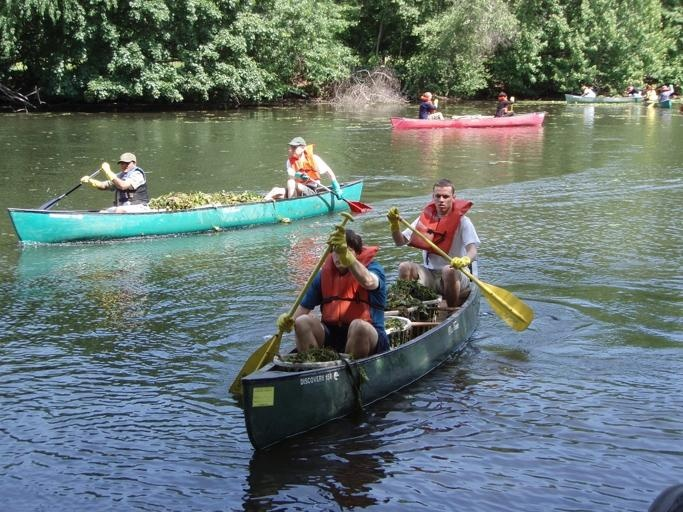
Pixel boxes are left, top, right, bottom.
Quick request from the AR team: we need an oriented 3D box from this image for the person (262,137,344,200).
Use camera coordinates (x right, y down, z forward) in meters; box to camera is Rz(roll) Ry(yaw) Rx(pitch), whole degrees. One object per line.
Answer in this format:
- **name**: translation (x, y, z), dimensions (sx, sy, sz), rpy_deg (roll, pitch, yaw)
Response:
- **person**: translation (-0.901, -1.495, 13.626), dimensions (1.925, 1.019, 0.948), rpy_deg (-8, 20, -43)

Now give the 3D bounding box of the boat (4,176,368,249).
- **boat**: translation (-2.578, -0.683, 12.530), dimensions (8.535, 0.586, 1.302), rpy_deg (-5, 9, -28)

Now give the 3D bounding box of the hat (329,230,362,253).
- **hat**: translation (0.031, -0.126, 6.642), dimensions (0.233, 0.085, 0.271), rpy_deg (12, -1, 24)

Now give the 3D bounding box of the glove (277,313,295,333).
- **glove**: translation (-0.482, 0.591, 6.735), dimensions (0.102, 0.140, 0.174), rpy_deg (21, 32, -30)

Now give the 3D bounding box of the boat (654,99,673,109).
- **boat**: translation (15.686, -7.307, 36.896), dimensions (0.323, 0.420, 1.410), rpy_deg (-1, 7, 6)

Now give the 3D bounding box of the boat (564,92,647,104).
- **boat**: translation (13.761, -8.144, 39.829), dimensions (5.821, 0.490, 1.095), rpy_deg (1, 3, 10)

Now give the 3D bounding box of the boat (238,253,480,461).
- **boat**: translation (0.454, 0.851, 7.386), dimensions (0.925, 0.489, 3.648), rpy_deg (5, 16, 44)
